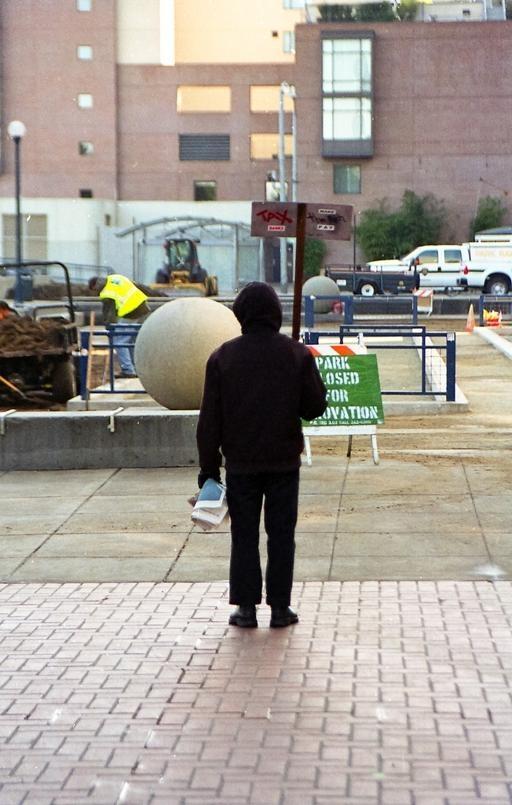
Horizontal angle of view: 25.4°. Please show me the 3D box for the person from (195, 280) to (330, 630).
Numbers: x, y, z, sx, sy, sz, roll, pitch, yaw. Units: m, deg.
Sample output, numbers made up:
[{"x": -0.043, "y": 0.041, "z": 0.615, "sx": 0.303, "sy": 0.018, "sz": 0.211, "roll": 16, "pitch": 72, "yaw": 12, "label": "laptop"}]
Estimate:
[{"x": 0.032, "y": 0.294, "z": 5.691, "sx": 0.637, "sy": 1.772, "sz": 0.287, "roll": -2, "pitch": 8, "yaw": -5, "label": "person"}]

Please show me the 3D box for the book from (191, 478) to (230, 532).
[{"x": -0.238, "y": 0.479, "z": 5.750, "sx": 0.213, "sy": 0.079, "sz": 0.273, "roll": 3, "pitch": 25, "yaw": 19, "label": "book"}]

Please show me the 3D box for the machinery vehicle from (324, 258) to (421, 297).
[{"x": 4.441, "y": -4.442, "z": 41.667, "sx": 2.844, "sy": 1.025, "sz": 1.712, "roll": -1, "pitch": 12, "yaw": 1, "label": "machinery vehicle"}]

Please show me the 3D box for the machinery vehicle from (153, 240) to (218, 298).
[{"x": -2.814, "y": -5.116, "z": 42.843, "sx": 1.904, "sy": 2.090, "sz": 3.758, "roll": -4, "pitch": 5, "yaw": 2, "label": "machinery vehicle"}]
